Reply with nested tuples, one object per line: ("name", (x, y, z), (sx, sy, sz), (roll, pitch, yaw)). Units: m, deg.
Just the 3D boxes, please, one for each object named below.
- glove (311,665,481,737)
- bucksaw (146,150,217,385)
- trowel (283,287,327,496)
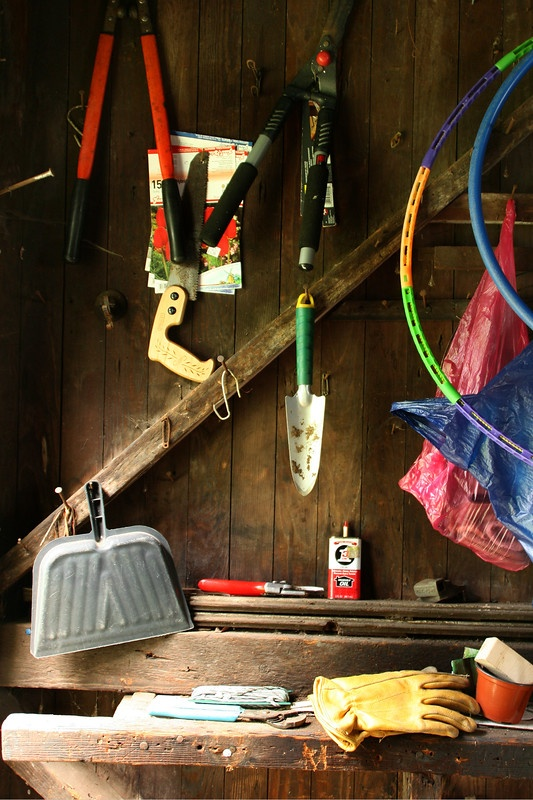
("glove", (0.258, 0.584, 1.795), (0.300, 0.177, 0.092), (-1, 115, 5))
("bucksaw", (-0.180, -0.305, 2.198), (0.147, 0.058, 0.548), (14, 100, 19))
("trowel", (0.084, -0.012, 2.095), (0.092, 0.033, 0.450), (-2, 96, -16))
